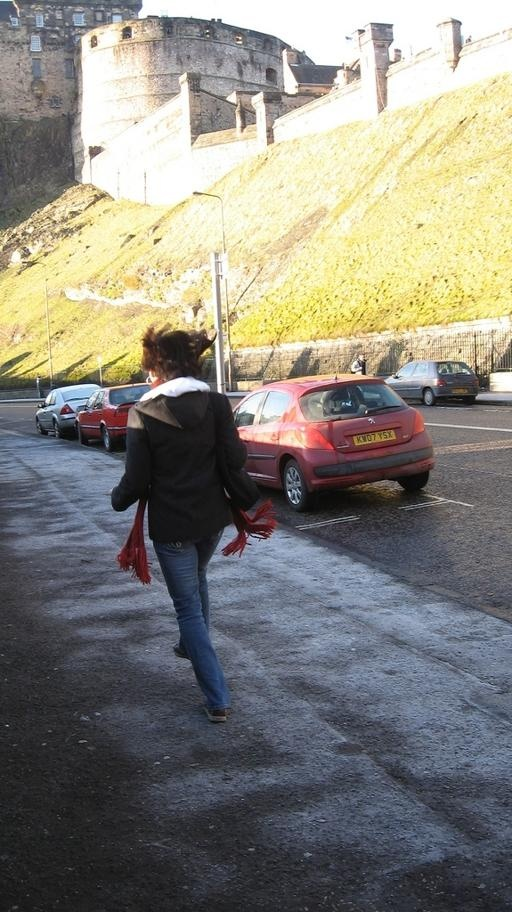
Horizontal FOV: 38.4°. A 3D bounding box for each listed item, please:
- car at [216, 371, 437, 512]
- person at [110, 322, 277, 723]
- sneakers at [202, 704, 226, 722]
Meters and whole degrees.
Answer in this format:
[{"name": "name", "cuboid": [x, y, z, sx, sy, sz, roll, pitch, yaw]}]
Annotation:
[{"name": "car", "cuboid": [0.768, -0.358, 10.354, 1.617, 1.234, 2.747, -8, 13, -17]}, {"name": "person", "cuboid": [-0.313, 0.312, 3.635, 0.760, 1.911, 0.478, -5, 4, -20]}, {"name": "sneakers", "cuboid": [-0.190, 1.231, 3.527, 0.103, 0.068, 0.114, -4, 3, -5]}]
